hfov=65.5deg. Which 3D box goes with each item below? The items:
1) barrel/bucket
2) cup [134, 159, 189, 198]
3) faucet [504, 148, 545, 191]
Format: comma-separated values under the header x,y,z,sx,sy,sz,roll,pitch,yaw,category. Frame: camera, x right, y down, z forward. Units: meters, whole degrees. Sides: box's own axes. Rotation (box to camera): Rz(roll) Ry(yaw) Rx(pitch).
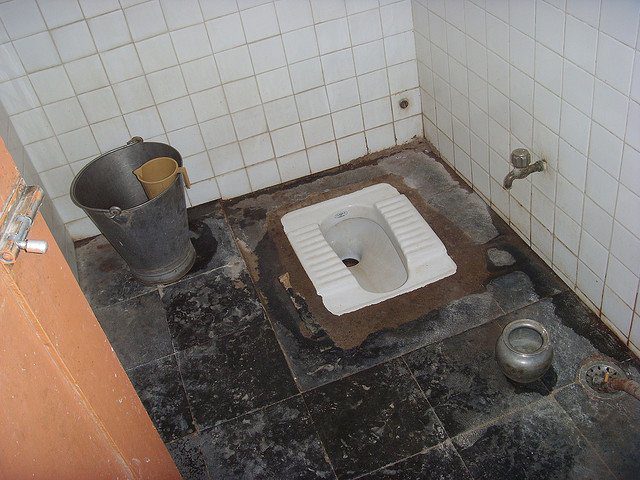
x,y,z,sx,sy,sz,roll,pitch,yaw,category
-0.863,-0.068,2.791,0.470,0.577,0.473,-14,11,3,barrel/bucket
-0.866,-0.310,2.737,0.263,0.195,0.220,-16,-28,-5,cup
0.924,-0.329,2.247,0.220,0.161,0.081,-18,27,-10,faucet
